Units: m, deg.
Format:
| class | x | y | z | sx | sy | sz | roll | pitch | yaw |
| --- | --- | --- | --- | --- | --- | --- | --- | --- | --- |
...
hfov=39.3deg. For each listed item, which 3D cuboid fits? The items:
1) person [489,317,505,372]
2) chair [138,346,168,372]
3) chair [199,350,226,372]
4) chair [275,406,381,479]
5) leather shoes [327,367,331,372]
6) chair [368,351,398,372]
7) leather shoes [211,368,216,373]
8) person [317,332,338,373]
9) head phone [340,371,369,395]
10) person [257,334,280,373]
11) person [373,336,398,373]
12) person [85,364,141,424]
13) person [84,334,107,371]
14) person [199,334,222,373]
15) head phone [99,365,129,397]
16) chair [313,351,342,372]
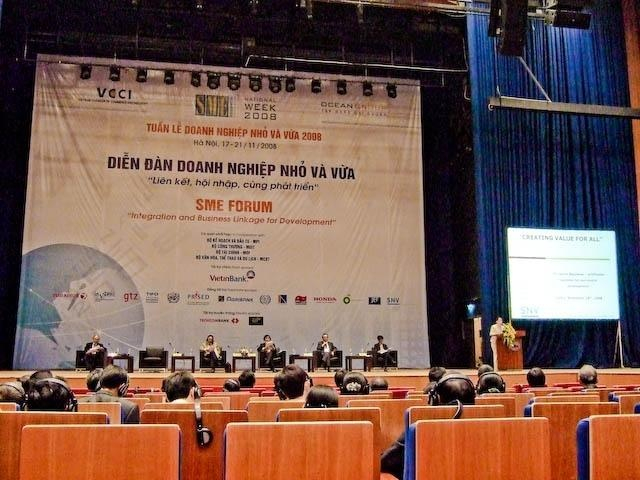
| class | x | y | z | sx | sy | sz | roll | pitch | yaw |
| --- | --- | --- | --- | --- | --- | --- | --- | --- | --- |
| person | 4.365 | 2.592 | 22.107 | 0.347 | 1.319 | 0.926 | -2 | -8 | 10 |
| chair | -4.109 | 2.996 | 22.102 | 0.605 | 0.764 | 0.519 | 1 | -17 | -9 |
| chair | -2.692 | 3.052 | 22.257 | 0.440 | 0.448 | 0.506 | 1 | -16 | -6 |
| chair | 0.212 | 2.672 | 11.222 | 1.294 | 1.122 | 0.765 | 1 | -8 | -5 |
| leather shoes | 0.214 | 3.236 | 22.220 | 0.045 | 0.132 | 0.114 | -2 | 20 | 5 |
| chair | 1.612 | 3.274 | 22.815 | 0.668 | 0.797 | 0.443 | 1 | -11 | -6 |
| leather shoes | -2.661 | 3.257 | 22.195 | 0.126 | 0.162 | 0.078 | 0 | 0 | -3 |
| person | 0.139 | 2.873 | 22.521 | 0.396 | 1.067 | 0.522 | -6 | -19 | 9 |
| head phone | 0.481 | 2.125 | 13.087 | 0.298 | 0.278 | 0.347 | 0 | -15 | -4 |
| person | -1.327 | 2.912 | 22.777 | 0.461 | 0.893 | 1.028 | 0 | -9 | -5 |
| person | 1.614 | 2.897 | 22.767 | 0.580 | 1.069 | 0.752 | 3 | -14 | -14 |
| person | -2.834 | 2.104 | 12.289 | 0.678 | 1.395 | 0.626 | -1 | -6 | 1 |
| person | -5.446 | 2.779 | 21.515 | 0.496 | 0.979 | 0.513 | 3 | -13 | -18 |
| person | -2.744 | 2.870 | 22.378 | 0.568 | 0.927 | 0.570 | -11 | -17 | 41 |
| head phone | -2.879 | 2.002 | 12.604 | 0.235 | 0.274 | 0.265 | -7 | -40 | 45 |
| chair | 0.170 | 3.053 | 22.520 | 0.756 | 0.465 | 0.454 | 0 | -8 | -7 |
